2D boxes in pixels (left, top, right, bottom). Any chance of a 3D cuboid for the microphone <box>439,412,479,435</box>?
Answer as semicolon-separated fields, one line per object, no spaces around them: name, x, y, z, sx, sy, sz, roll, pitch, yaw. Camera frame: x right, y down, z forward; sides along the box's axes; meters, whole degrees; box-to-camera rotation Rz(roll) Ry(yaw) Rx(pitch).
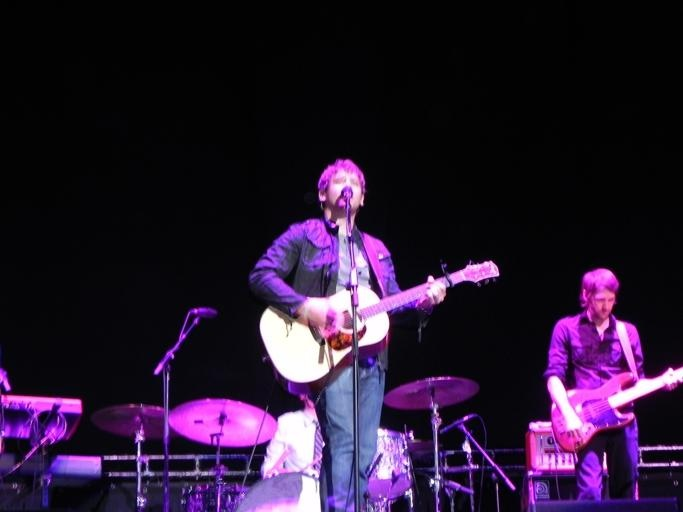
microphone;1.166;1.707;7.161;0.328;0.095;0.320;-25;-10;-20

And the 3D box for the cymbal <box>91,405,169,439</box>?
cymbal;-2.058;1.582;6.825;0.674;0.281;0.730;7;-22;-15

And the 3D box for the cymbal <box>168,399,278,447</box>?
cymbal;-1.089;1.496;6.862;0.858;0.271;0.867;-2;3;35

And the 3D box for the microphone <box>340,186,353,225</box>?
microphone;0.039;-0.358;5.048;0.031;0.268;0.090;-9;-19;38
